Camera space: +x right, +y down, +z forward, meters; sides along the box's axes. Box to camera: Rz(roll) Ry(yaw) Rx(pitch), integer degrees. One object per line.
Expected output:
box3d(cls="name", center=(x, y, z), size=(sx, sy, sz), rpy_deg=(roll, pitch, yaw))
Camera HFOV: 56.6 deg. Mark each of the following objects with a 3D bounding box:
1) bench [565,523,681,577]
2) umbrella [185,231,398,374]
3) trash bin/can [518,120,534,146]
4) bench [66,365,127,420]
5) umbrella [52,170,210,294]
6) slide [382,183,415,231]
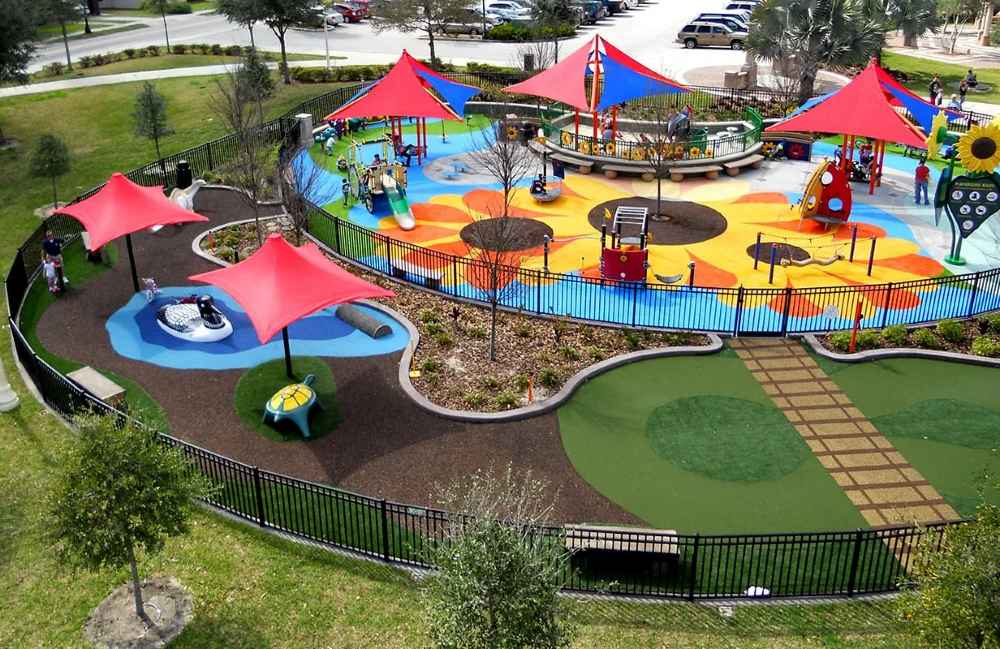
box3d(cls="bench", center=(3.420, 6.261, 26.688), size=(3.050, 1.458, 1.125), rpy_deg=(3, 9, 8))
box3d(cls="umbrella", center=(-7.652, -0.747, 33.828), size=(5.336, 4.761, 5.380), rpy_deg=(-30, 59, -31))
box3d(cls="trash bin/can", center=(1.298, -10.424, 50.330), size=(0.894, 1.312, 0.380), rpy_deg=(3, -2, -2))
box3d(cls="bench", center=(-13.035, 2.285, 30.447), size=(2.369, 1.086, 1.137), rpy_deg=(22, 35, 38))
box3d(cls="umbrella", center=(-14.600, -3.461, 37.625), size=(4.723, 4.545, 5.174), rpy_deg=(1, 34, 5))
box3d(cls="slide", center=(-4.605, -5.338, 42.336), size=(0.703, 0.616, 3.080), rpy_deg=(-21, 47, -1))
